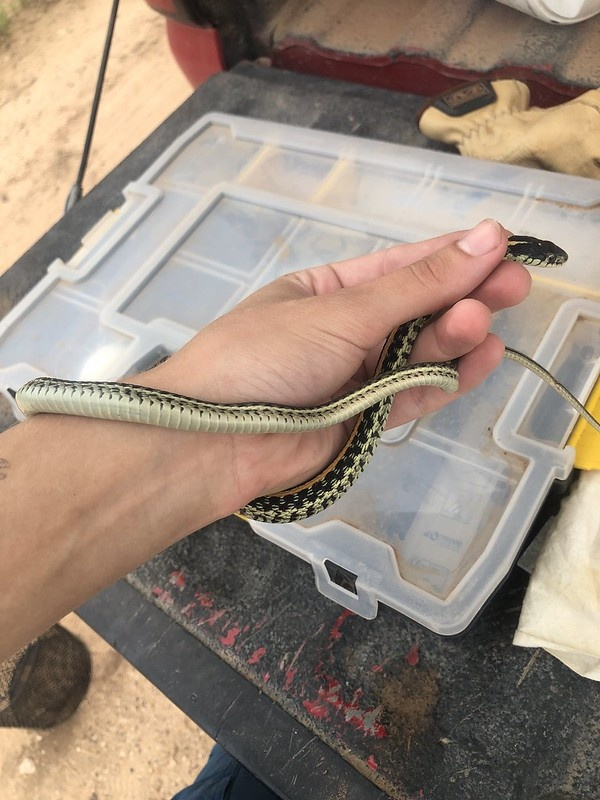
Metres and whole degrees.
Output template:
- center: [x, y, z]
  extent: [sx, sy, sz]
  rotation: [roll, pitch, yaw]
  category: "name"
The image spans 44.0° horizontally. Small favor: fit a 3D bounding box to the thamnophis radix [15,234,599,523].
- center: [0.134, -0.012, 1.548]
  extent: [1.227, 0.148, 0.626]
  rotation: [-5, 50, -8]
  category: "thamnophis radix"
